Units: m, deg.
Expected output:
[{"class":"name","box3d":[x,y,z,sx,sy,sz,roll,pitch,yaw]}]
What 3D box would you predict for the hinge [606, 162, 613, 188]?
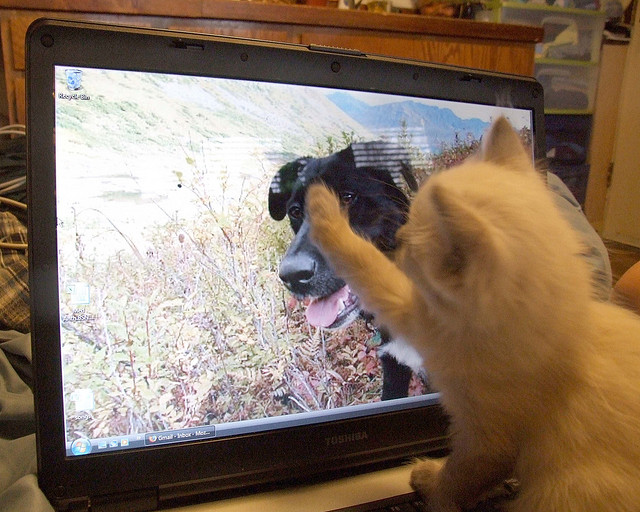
[{"class":"hinge","box3d":[1.166,-0.321,2.309,0.021,0.087,0.071,7,21,26]}]
